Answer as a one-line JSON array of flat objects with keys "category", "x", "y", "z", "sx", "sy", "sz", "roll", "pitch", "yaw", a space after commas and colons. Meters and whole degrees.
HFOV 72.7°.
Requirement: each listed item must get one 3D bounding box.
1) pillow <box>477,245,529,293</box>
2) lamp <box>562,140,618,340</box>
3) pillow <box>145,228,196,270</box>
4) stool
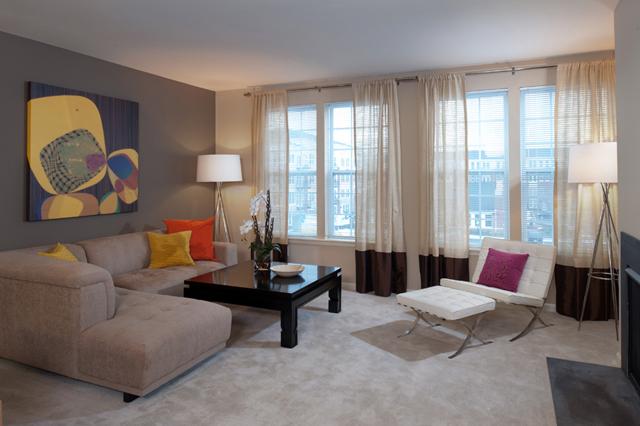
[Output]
[{"category": "pillow", "x": 2.193, "y": 0.696, "z": 5.241, "sx": 0.158, "sy": 0.471, "sz": 0.515, "roll": 28, "pitch": -8, "yaw": -40}, {"category": "lamp", "x": 3.297, "y": 0.257, "z": 5.251, "sx": 0.751, "sy": 2.205, "sz": 0.842, "roll": 7, "pitch": 16, "yaw": 28}, {"category": "pillow", "x": -2.015, "y": 0.512, "z": 5.942, "sx": 0.502, "sy": 0.426, "sz": 0.166, "roll": -2, "pitch": -22, "yaw": -15}, {"category": "stool", "x": 1.462, "y": 1.046, "z": 4.865, "sx": 0.822, "sy": 0.472, "sz": 0.834, "roll": -8, "pitch": 9, "yaw": -41}]
